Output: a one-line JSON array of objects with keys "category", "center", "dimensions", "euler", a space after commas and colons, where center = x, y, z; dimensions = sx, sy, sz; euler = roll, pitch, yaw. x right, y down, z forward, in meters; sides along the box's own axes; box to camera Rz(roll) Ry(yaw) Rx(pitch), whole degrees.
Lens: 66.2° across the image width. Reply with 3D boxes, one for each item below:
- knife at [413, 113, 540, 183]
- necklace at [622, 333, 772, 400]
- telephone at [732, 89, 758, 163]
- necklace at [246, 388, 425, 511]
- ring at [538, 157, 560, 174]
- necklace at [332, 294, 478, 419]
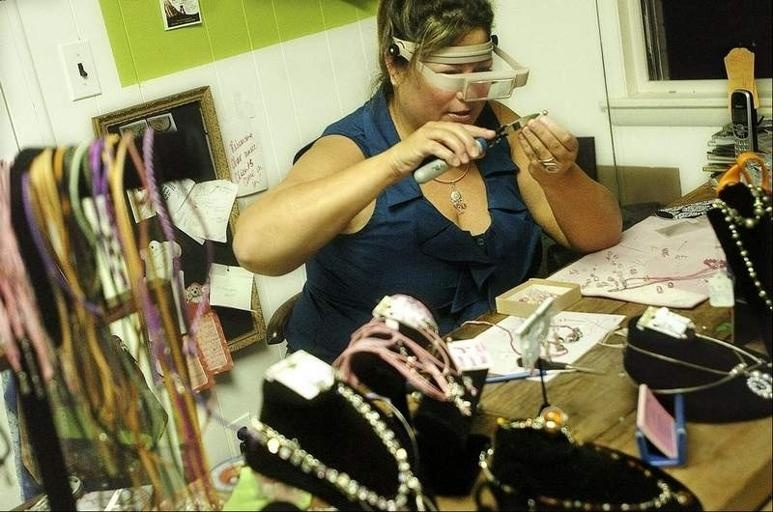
[{"category": "knife", "center": [0.217, -0.264, 1.453], "dimensions": [0.487, 0.069, 0.065], "euler": [-25, 69, -33]}, {"category": "necklace", "center": [0.560, 0.164, 1.073], "dimensions": [0.177, 0.058, 0.131], "euler": [9, 15, 32]}, {"category": "telephone", "center": [1.100, -0.412, 1.819], "dimensions": [0.075, 0.199, 0.131], "euler": [0, 13, 28]}, {"category": "necklace", "center": [-0.073, 0.292, 0.895], "dimensions": [0.195, 0.073, 0.205], "euler": [-19, 49, -42]}, {"category": "ring", "center": [0.420, -0.232, 1.517], "dimensions": [0.039, 0.024, 0.032], "euler": [14, 23, 29]}, {"category": "necklace", "center": [0.035, 0.166, 1.077], "dimensions": [0.234, 0.173, 0.179], "euler": [31, 9, 4]}]
